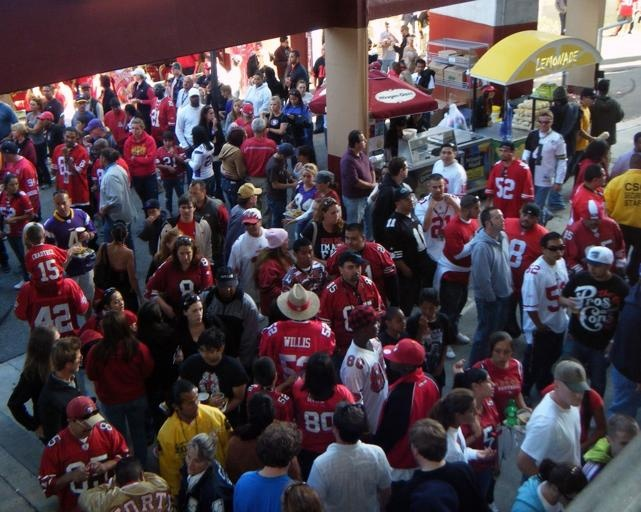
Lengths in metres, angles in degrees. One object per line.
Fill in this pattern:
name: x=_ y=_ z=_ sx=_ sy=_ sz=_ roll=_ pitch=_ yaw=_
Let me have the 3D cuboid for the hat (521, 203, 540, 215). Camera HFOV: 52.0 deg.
hat: x=2.563 y=-0.573 z=8.031 sx=0.207 sy=0.151 sz=0.324 roll=3 pitch=24 yaw=18

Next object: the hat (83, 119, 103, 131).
hat: x=-4.166 y=-2.395 z=12.009 sx=0.312 sy=0.186 sz=0.240 roll=-7 pitch=11 yaw=-18

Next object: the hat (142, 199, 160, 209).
hat: x=-2.321 y=-0.659 z=8.892 sx=0.200 sy=0.116 sz=0.159 roll=9 pitch=14 yaw=6

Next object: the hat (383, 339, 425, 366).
hat: x=0.705 y=0.855 z=5.614 sx=0.315 sy=0.149 sz=0.229 roll=15 pitch=33 yaw=14

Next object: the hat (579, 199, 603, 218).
hat: x=3.498 y=-0.608 z=8.478 sx=0.270 sy=0.235 sz=0.546 roll=5 pitch=24 yaw=22

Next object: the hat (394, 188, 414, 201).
hat: x=0.997 y=-0.749 z=7.952 sx=0.181 sy=0.110 sz=0.142 roll=-9 pitch=17 yaw=28

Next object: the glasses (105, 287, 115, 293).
glasses: x=-2.310 y=0.373 z=7.193 sx=0.064 sy=0.025 sz=0.059 roll=-30 pitch=6 yaw=7

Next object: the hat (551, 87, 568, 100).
hat: x=4.406 y=-2.963 z=12.077 sx=0.178 sy=0.276 sz=0.249 roll=8 pitch=9 yaw=16

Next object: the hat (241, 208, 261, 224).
hat: x=-0.850 y=-0.491 z=8.072 sx=0.160 sy=0.144 sz=0.250 roll=-3 pitch=-1 yaw=7

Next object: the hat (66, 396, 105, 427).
hat: x=-1.933 y=1.247 z=5.400 sx=0.260 sy=0.164 sz=0.202 roll=27 pitch=26 yaw=5

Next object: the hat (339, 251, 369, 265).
hat: x=0.319 y=0.025 z=6.821 sx=0.258 sy=0.151 sz=0.165 roll=-4 pitch=22 yaw=0

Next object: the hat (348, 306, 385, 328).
hat: x=0.415 y=0.579 z=6.001 sx=0.257 sy=0.162 sz=0.192 roll=-22 pitch=19 yaw=-13

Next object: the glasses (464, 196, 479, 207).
glasses: x=1.854 y=-0.662 z=8.098 sx=0.160 sy=0.087 sz=0.120 roll=-22 pitch=19 yaw=52

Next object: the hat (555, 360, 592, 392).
hat: x=2.066 y=0.969 z=5.387 sx=0.207 sy=0.178 sz=0.281 roll=-12 pitch=26 yaw=-44

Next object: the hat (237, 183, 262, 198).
hat: x=-0.972 y=-0.833 z=8.890 sx=0.198 sy=0.175 sz=0.313 roll=14 pitch=27 yaw=32

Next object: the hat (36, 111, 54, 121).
hat: x=-5.599 y=-2.827 z=13.370 sx=0.260 sy=0.153 sz=0.189 roll=4 pitch=8 yaw=-29

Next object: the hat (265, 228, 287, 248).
hat: x=-0.523 y=-0.219 z=7.774 sx=0.253 sy=0.229 sz=0.296 roll=-7 pitch=22 yaw=-8

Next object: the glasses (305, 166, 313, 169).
glasses: x=-0.163 y=-1.289 z=9.569 sx=0.064 sy=0.037 sz=0.094 roll=2 pitch=-5 yaw=-8

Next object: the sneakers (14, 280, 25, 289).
sneakers: x=-4.883 y=0.450 z=10.652 sx=0.103 sy=0.122 sz=0.263 roll=23 pitch=6 yaw=-20

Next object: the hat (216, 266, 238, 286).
hat: x=-0.989 y=0.232 z=6.869 sx=0.202 sy=0.189 sz=0.184 roll=-9 pitch=22 yaw=-12

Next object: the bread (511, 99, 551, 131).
bread: x=4.135 y=-2.825 z=13.127 sx=0.632 sy=0.303 sz=0.626 roll=-38 pitch=41 yaw=-21

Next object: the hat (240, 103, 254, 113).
hat: x=-1.492 y=-2.959 z=13.046 sx=0.173 sy=0.134 sz=0.243 roll=-5 pitch=33 yaw=-33

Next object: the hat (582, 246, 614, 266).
hat: x=2.994 y=0.014 z=6.900 sx=0.310 sy=0.178 sz=0.228 roll=15 pitch=-1 yaw=-33
